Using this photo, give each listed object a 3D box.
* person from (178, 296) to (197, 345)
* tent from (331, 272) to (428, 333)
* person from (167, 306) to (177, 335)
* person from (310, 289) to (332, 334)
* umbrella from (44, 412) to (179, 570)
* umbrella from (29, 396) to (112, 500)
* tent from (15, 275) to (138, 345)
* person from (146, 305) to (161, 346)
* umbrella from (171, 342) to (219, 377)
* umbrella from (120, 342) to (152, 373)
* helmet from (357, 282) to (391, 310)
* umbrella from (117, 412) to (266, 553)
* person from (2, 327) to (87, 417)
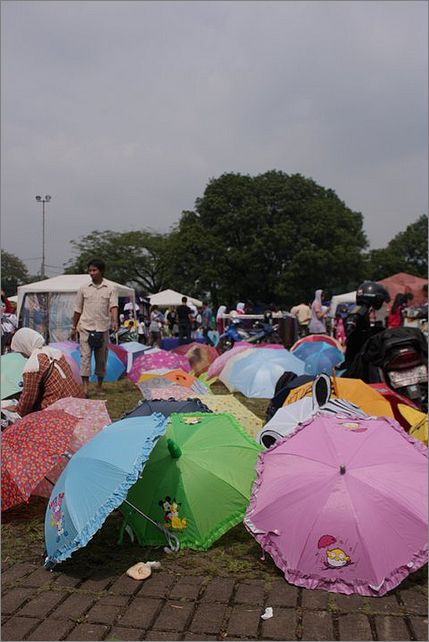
[{"bbox_3d":[-0.843,0.051,14.722,0.532,1.499,0.477,2,13,16],"label":"person"},{"bbox_3d":[6.624,-1.221,19.392,3.648,1.713,3.612,1,6,28],"label":"tent"},{"bbox_3d":[-1.477,-0.025,17.226,0.362,0.979,0.870,-1,-3,-6],"label":"person"},{"bbox_3d":[2.731,-0.284,13.295,0.463,1.236,1.369,-1,-3,11],"label":"person"},{"bbox_3d":[-0.529,0.854,2.562,0.626,0.703,0.506,0,-3,-18],"label":"umbrella"},{"bbox_3d":[-0.863,0.758,3.019,0.506,0.346,0.475,-27,10,38],"label":"umbrella"},{"bbox_3d":[-4.987,-0.637,18.884,3.878,2.410,3.867,2,5,32],"label":"tent"},{"bbox_3d":[-2.008,0.125,17.081,0.439,1.372,1.256,-1,-3,-7],"label":"person"},{"bbox_3d":[-0.283,0.633,9.590,0.650,0.271,0.646,26,36,22],"label":"umbrella"},{"bbox_3d":[-1.615,0.722,10.114,0.616,0.406,0.614,-4,-6,30],"label":"umbrella"},{"bbox_3d":[1.518,-0.243,4.921,0.333,0.255,0.252,0,8,-36],"label":"helmet"},{"bbox_3d":[-0.111,0.892,2.861,0.805,0.732,0.402,-5,-25,9],"label":"umbrella"},{"bbox_3d":[-1.720,0.518,5.221,0.688,0.903,0.723,5,25,25],"label":"person"}]
